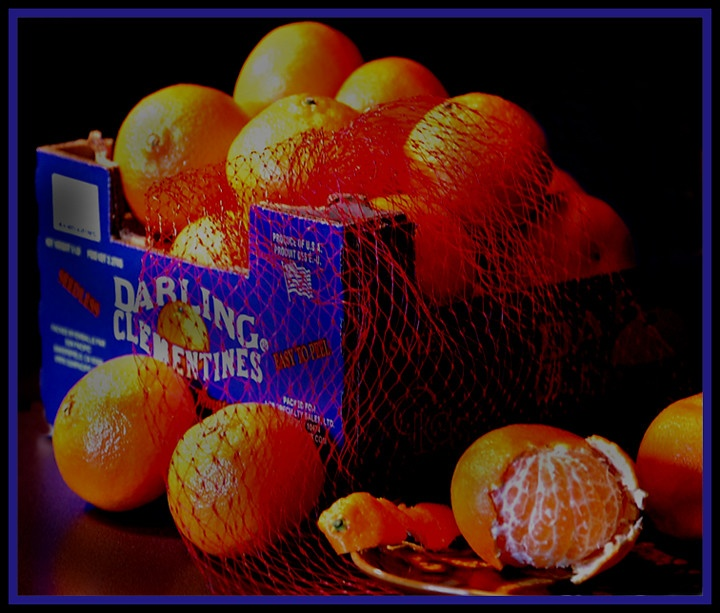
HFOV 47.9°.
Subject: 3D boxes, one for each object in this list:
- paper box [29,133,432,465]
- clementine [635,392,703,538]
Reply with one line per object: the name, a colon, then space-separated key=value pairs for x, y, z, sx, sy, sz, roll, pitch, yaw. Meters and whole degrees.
paper box: x=-0.161 y=-0.024 z=0.866 sx=0.305 sy=0.289 sz=0.201 roll=12 pitch=26 yaw=10
clementine: x=0.290 y=0.152 z=0.759 sx=0.061 sy=0.115 sz=0.057 roll=4 pitch=20 yaw=8
